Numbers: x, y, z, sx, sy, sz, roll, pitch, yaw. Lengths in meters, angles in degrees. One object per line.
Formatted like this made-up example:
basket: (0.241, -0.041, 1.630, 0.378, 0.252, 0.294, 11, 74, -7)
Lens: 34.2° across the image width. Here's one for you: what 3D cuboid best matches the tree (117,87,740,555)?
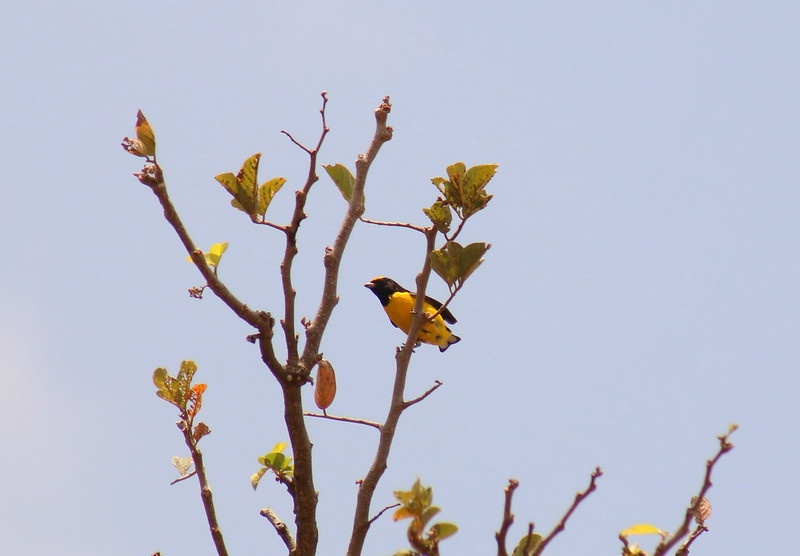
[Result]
tree: (0.028, 0.344, 5.356, 2.042, 2.342, 2.254, -1, -83, -25)
